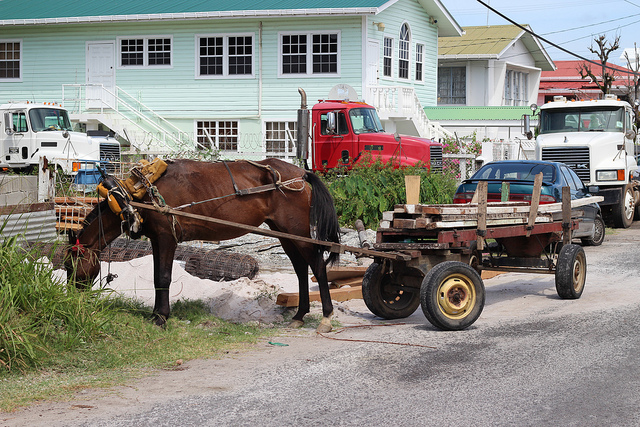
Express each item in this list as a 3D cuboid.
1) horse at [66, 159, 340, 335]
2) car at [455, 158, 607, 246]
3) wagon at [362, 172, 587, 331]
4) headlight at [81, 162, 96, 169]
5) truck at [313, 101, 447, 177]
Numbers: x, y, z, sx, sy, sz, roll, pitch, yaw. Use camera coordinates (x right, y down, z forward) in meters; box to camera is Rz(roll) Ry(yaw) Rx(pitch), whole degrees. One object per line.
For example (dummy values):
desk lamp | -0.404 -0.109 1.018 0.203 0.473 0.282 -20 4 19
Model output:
horse | -1.781 0.500 11.505 4.247 2.466 1.029 -1 -1 -7
car | 5.029 -0.485 17.047 2.299 1.619 3.800 1 5 27
wagon | 2.707 0.568 12.891 2.103 2.364 4.284 0 1 45
headlight | -6.414 -1.333 20.499 0.567 0.146 0.605 1 -1 4
truck | 1.386 -2.124 21.996 3.497 2.065 2.408 1 5 24
